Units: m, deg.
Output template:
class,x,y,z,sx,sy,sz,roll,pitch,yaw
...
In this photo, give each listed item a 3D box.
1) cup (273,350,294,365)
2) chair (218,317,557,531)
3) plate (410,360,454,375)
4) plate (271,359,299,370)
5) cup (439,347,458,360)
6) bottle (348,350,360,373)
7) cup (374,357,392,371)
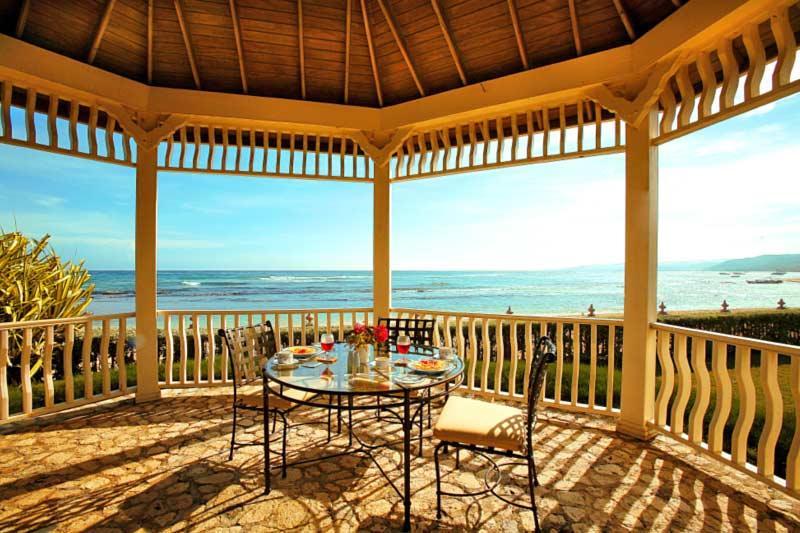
class,x,y,z,sx,sy,sz,roll,pitch,yaw
cup,-1.340,1.061,6.295,0.187,0.111,0.134,0,3,-23
chair,-0.341,1.812,6.404,3.720,1.620,2.155,1,1,30
plate,0.349,1.143,6.192,0.460,0.129,0.283,-1,-3,0
plate,-1.313,1.134,6.249,0.295,0.089,0.255,-1,-3,-12
cup,0.578,1.043,6.413,0.186,0.126,0.125,-1,-5,25
bottle,-0.520,1.076,6.166,0.127,0.245,0.182,-1,-3,-6
cup,-0.190,1.128,6.191,0.171,0.111,0.130,-5,-6,28
